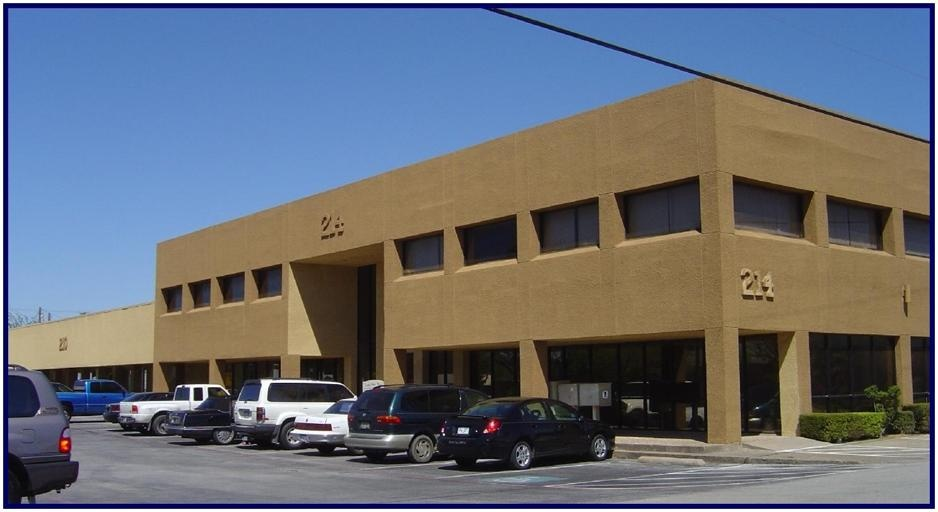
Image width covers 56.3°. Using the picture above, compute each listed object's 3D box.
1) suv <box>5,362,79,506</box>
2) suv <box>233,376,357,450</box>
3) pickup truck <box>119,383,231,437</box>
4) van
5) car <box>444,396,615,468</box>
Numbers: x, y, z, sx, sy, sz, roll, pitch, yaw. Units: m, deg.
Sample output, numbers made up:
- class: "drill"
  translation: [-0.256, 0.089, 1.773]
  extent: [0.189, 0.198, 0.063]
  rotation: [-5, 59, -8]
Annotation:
- class: "suv"
  translation: [-12.845, 5.313, 26.036]
  extent: [1.997, 4.234, 0.846]
  rotation: [5, -2, -14]
- class: "suv"
  translation: [-7.462, 7.318, 41.764]
  extent: [7.410, 2.749, 3.674]
  rotation: [5, -7, -43]
- class: "pickup truck"
  translation: [-15.962, 8.183, 47.070]
  extent: [3.079, 2.472, 7.775]
  rotation: [-7, -9, 43]
- class: "van"
  translation: [-1.556, 6.960, 37.760]
  extent: [4.027, 2.556, 7.822]
  rotation: [-6, -6, 44]
- class: "car"
  translation: [2.127, 6.746, 33.548]
  extent: [7.786, 2.382, 3.152]
  rotation: [5, -8, -41]
